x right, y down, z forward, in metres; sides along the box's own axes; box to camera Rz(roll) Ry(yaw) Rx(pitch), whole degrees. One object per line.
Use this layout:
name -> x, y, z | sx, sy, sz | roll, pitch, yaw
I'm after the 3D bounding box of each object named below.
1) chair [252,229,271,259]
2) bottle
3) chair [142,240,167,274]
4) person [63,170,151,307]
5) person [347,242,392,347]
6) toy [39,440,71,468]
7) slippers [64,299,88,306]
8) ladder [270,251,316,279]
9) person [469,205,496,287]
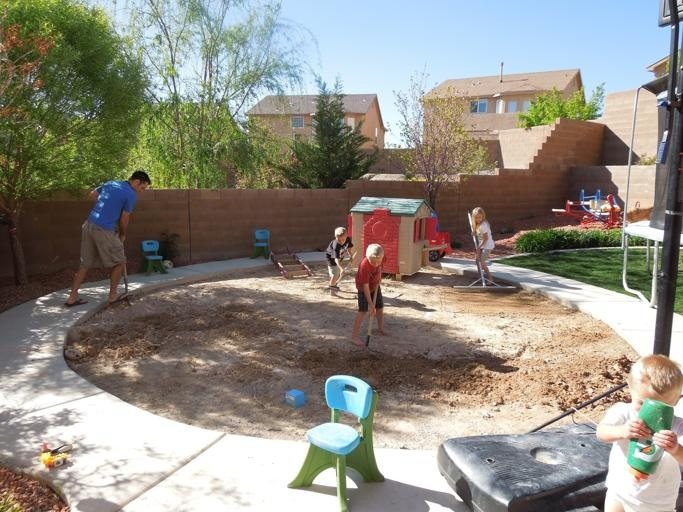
chair -> -2.008, -0.315, 13.305 | 0.599, 0.851, 0.616 | 1, 3, -6
bottle -> 1.915, 1.172, 3.292 | 0.204, 0.611, 0.195 | -3, 9, 0
chair -> -3.989, -0.008, 11.260 | 0.465, 0.698, 0.506 | -7, 10, -9
person -> -3.844, -0.304, 8.668 | 1.378, 2.108, 0.480 | -7, 9, -24
person -> 0.371, 0.486, 7.685 | 0.509, 1.394, 0.893 | -2, 8, 4
toy -> -2.480, 1.692, 4.518 | 0.273, 0.133, 0.286 | -5, 8, -10
slippers -> -4.264, 0.749, 8.440 | 0.122, 0.089, 0.317 | 6, 9, 33
ladder -> -1.158, 0.169, 12.184 | 0.820, 0.424, 1.721 | -5, 8, -14
person -> 2.921, -0.208, 10.933 | 0.435, 1.582, 0.770 | 0, 9, 17
